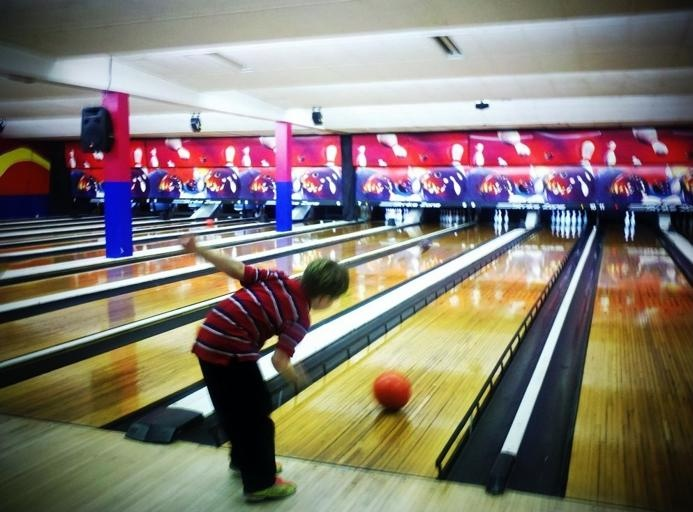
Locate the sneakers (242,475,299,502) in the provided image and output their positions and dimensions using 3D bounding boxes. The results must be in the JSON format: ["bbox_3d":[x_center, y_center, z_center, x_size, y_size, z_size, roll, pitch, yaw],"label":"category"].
[{"bbox_3d":[-0.214,0.653,1.351,0.120,0.059,0.061,-4,3,-11],"label":"sneakers"}]
